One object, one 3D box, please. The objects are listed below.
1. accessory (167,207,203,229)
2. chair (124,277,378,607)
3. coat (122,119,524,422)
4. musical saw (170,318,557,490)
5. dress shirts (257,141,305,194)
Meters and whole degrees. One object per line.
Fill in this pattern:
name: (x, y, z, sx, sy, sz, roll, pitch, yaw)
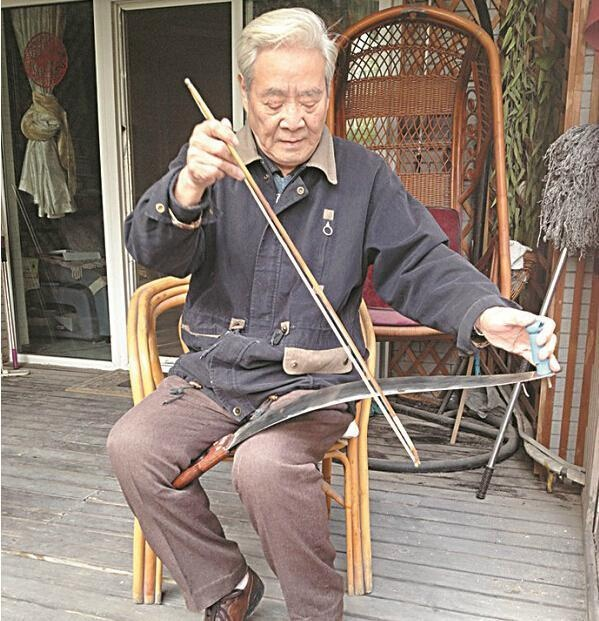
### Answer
accessory: (-0.268, -0.220, 1.791, 0.054, 0.013, 0.052, 10, -12, 40)
chair: (-0.156, 0.354, 2.296, 0.790, 0.889, 0.705, 5, 4, -19)
coat: (0.094, -0.115, 1.972, 1.215, 0.745, 0.519, 6, 1, 28)
musical saw: (0.137, 0.201, 1.680, 0.913, 0.112, 0.104, -15, 14, -7)
dress shirts: (-0.056, -0.365, 1.962, 0.107, 0.134, 0.048, 2, 41, 12)
